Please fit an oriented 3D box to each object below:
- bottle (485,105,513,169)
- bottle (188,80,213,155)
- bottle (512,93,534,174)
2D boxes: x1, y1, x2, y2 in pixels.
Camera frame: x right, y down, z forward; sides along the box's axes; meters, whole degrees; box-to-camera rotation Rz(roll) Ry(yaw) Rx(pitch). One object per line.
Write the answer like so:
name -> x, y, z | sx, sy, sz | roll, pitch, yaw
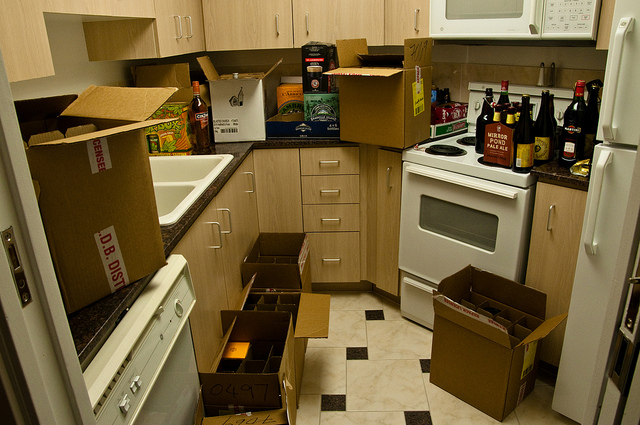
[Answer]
bottle -> 0.908, -0.344, 2.321 | 0.042, 0.219, 0.153 | -17, 25, -32
bottle -> -0.740, -0.607, 2.828 | 0.139, 0.406, 0.387 | -8, 22, -12
bottle -> 1.006, -0.390, 2.254 | 0.103, 0.354, 0.222 | 6, 23, 22
